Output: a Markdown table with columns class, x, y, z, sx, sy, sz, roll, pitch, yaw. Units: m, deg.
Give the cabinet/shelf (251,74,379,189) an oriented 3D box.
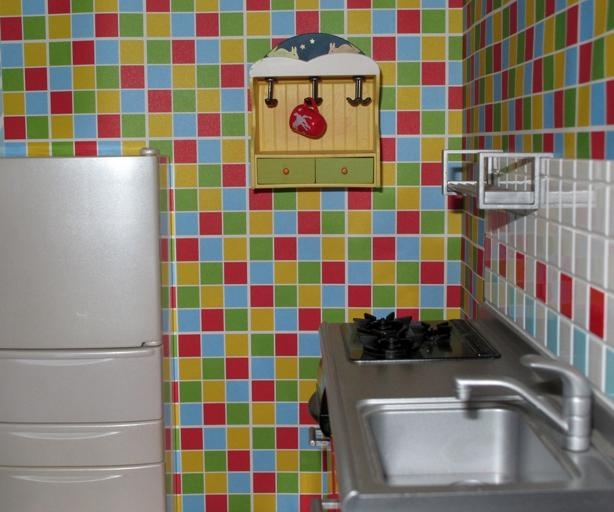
| class | x | y | z | sx | sy | sz | roll | pitch | yaw |
| --- | --- | --- | --- | --- | --- | --- | --- | --- | --- |
| cabinet/shelf | 0.024 | -0.502 | 3.106 | 0.336 | 0.136 | 0.363 | 0 | -82 | 0 |
